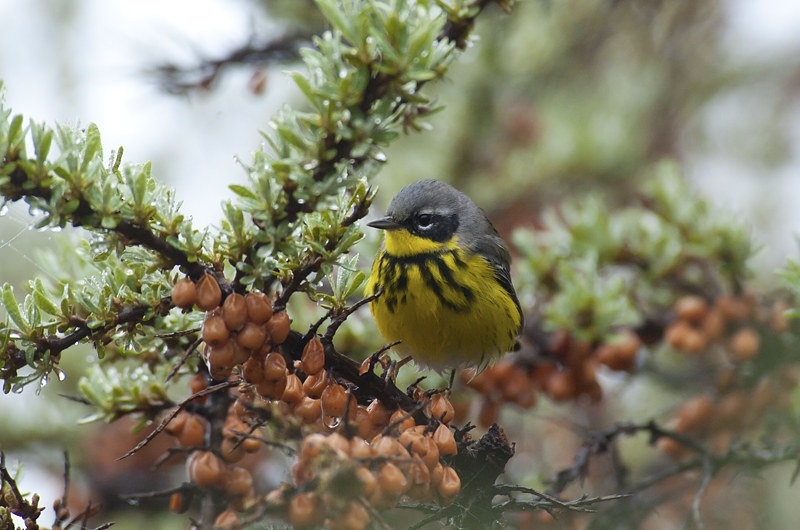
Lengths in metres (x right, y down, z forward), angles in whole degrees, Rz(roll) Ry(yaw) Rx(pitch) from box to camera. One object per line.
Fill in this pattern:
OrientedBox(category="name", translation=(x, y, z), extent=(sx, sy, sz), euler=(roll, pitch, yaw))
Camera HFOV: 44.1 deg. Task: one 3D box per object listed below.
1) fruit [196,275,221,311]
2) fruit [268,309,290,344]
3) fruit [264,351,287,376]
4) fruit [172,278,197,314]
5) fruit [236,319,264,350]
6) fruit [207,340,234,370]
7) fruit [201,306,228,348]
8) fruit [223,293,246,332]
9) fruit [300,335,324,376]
OrientedBox(category="fruit", translation=(-0.763, 0.110, 3.928), extent=(0.095, 0.062, 0.134), euler=(-15, -71, 7))
OrientedBox(category="fruit", translation=(-0.487, 0.249, 4.001), extent=(0.091, 0.089, 0.124), euler=(-2, -98, -26))
OrientedBox(category="fruit", translation=(-0.500, 0.405, 4.006), extent=(0.083, 0.088, 0.108), euler=(-6, -108, 7))
OrientedBox(category="fruit", translation=(-0.839, 0.129, 3.917), extent=(0.106, 0.110, 0.154), euler=(7, -105, -8))
OrientedBox(category="fruit", translation=(-0.588, 0.286, 3.978), extent=(0.102, 0.099, 0.124), euler=(3, -120, 17))
OrientedBox(category="fruit", translation=(-0.699, 0.361, 3.967), extent=(0.097, 0.105, 0.123), euler=(8, -91, 26))
OrientedBox(category="fruit", translation=(-0.730, 0.242, 3.904), extent=(0.123, 0.108, 0.183), euler=(3, -107, -6))
OrientedBox(category="fruit", translation=(-0.653, 0.187, 3.912), extent=(0.095, 0.106, 0.139), euler=(-3, -86, 10))
OrientedBox(category="fruit", translation=(-0.356, 0.360, 3.954), extent=(0.091, 0.065, 0.144), euler=(6, -98, -1))
